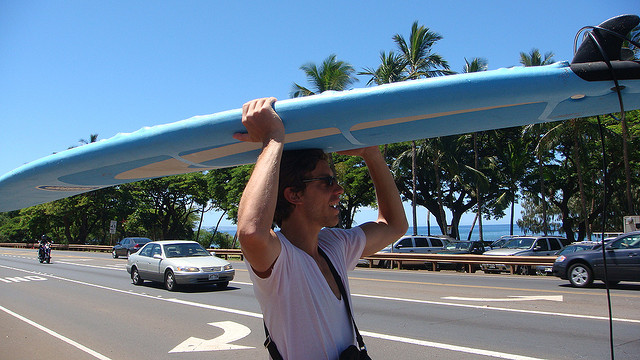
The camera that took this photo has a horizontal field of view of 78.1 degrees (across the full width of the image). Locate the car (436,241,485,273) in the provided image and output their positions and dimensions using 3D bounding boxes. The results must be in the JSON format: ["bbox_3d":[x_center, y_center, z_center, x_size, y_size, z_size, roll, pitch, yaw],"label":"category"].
[{"bbox_3d":[8.285,4.504,23.417,2.470,1.628,3.986,-4,-7,24],"label":"car"}]

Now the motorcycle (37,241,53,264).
[{"bbox_3d":[-20.291,5.363,29.269,0.593,1.443,1.487,3,-7,-36],"label":"motorcycle"}]

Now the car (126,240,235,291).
[{"bbox_3d":[-5.393,3.289,15.403,4.261,1.720,1.621,-6,-7,37],"label":"car"}]

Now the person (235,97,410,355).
[{"bbox_3d":[-0.020,0.440,3.783,1.594,2.305,0.537,1,-6,-23],"label":"person"}]
